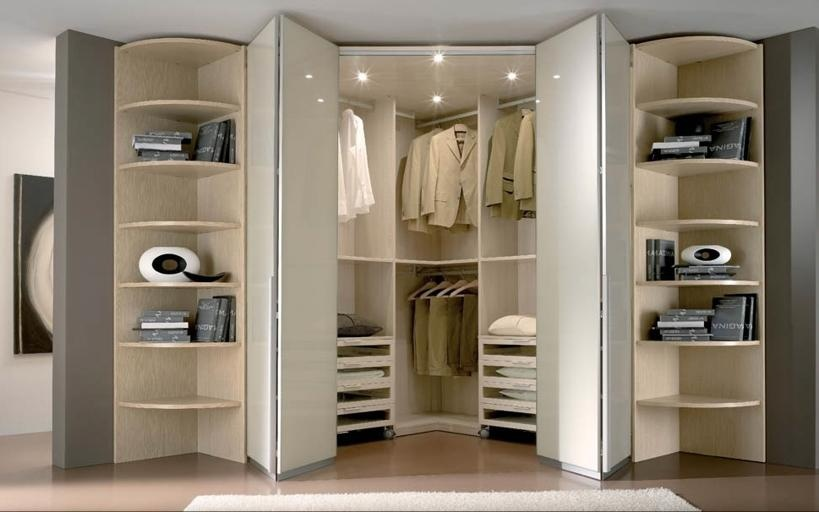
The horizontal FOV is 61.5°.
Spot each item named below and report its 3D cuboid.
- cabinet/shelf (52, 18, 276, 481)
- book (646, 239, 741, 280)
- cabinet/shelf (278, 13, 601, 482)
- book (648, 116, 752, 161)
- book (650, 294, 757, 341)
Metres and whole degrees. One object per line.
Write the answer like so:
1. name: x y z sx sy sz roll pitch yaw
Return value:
1. cabinet/shelf: -2.065 -0.061 5.508 1.480 3.393 0.647 0 2 -11
2. book: 2.221 0.041 5.502 0.570 0.240 0.379 -1 -2 17
3. cabinet/shelf: 0.262 -0.107 5.753 3.848 3.799 1.176 -1 -3 0
4. book: 2.330 -0.931 5.510 0.836 0.359 0.308 0 2 -12
5. book: 2.337 0.484 5.486 0.814 0.367 0.366 -1 2 -17
